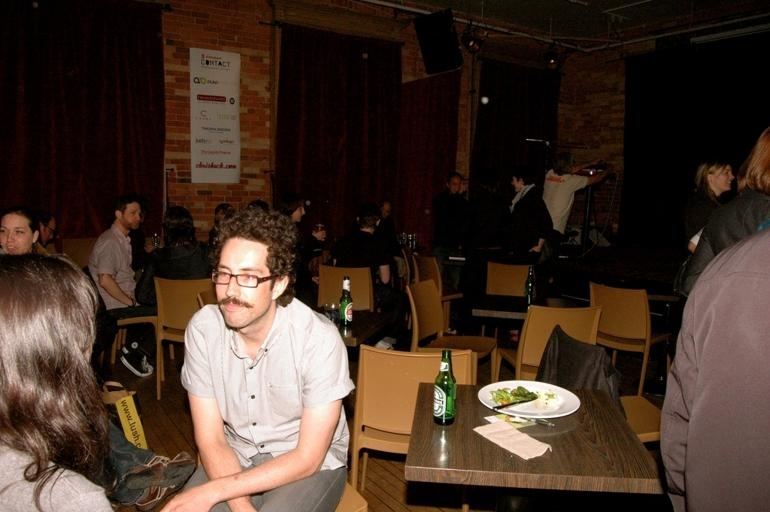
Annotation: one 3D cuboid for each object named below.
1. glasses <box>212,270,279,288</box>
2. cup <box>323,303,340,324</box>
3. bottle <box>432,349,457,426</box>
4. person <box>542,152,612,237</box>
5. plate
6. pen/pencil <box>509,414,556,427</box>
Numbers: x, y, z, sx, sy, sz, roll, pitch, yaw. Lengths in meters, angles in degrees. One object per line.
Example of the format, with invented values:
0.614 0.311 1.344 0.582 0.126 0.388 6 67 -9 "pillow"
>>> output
-0.638 0.106 2.580 0.284 0.073 0.078 2 5 6 "glasses"
-0.392 0.435 4.278 0.126 0.136 0.125 0 8 0 "cup"
0.290 0.621 2.804 0.110 0.316 0.285 2 5 6 "bottle"
2.747 -0.866 8.492 0.734 1.128 1.669 4 5 31 "person"
0.699 0.705 2.829 0.491 0.109 0.290 3 4 17 "plate"
0.688 0.775 2.690 0.166 0.021 0.024 7 9 21 "pen/pencil"
